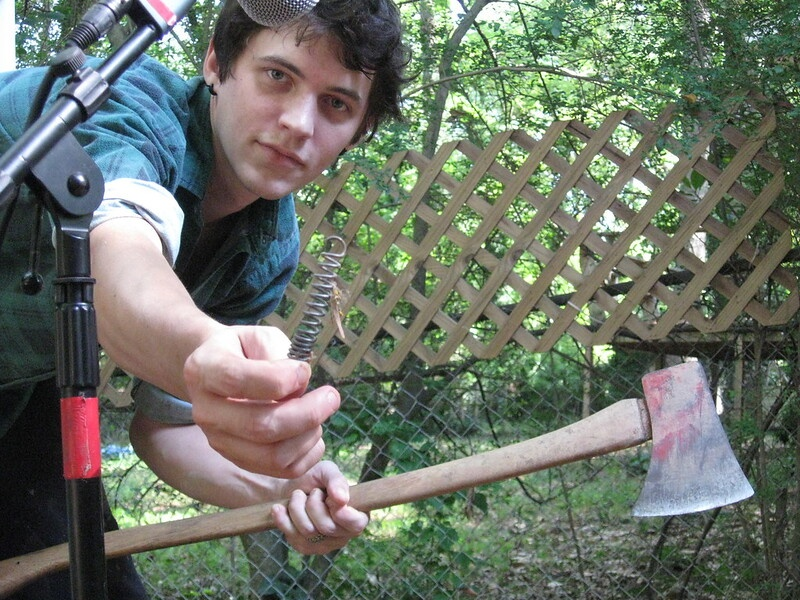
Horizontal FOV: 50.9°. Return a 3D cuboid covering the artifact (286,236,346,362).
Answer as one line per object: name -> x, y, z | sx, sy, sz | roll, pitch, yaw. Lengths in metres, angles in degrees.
artifact -> -0.187, -0.002, 1.925 | 0.051, 0.289, 0.052 | 14, -4, 32
